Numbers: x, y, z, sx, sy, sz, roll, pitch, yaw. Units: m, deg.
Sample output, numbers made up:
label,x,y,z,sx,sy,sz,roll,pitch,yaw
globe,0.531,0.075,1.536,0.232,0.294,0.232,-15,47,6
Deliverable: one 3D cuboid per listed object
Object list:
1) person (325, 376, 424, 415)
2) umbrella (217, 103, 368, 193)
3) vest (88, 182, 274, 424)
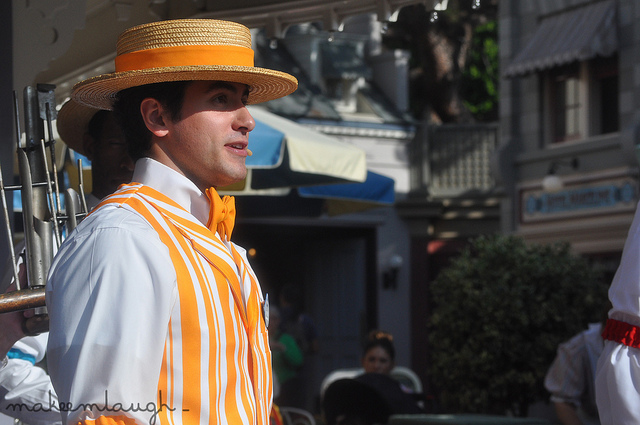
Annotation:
label,x,y,z,sx,sy,sz,roll,pitch,yaw
person,0.535,1.833,13.803,0.882,0.378,0.921,0,-3,-20
umbrella,-0.227,-0.657,13.789,1.345,0.868,1.089,0,-3,13
vest,-1.058,0.714,10.159,0.889,1.761,1.260,-10,-24,20
